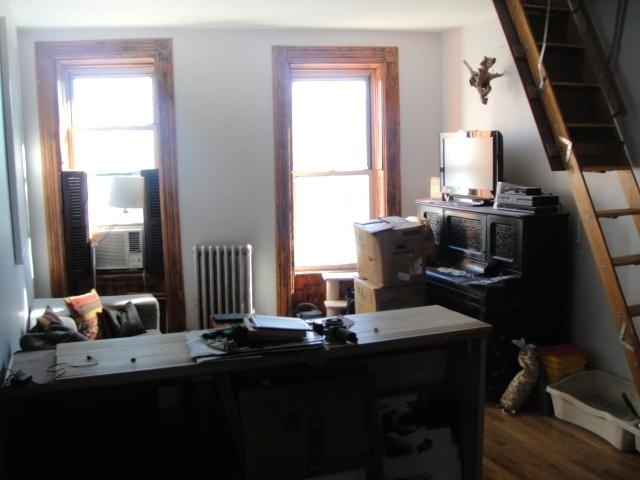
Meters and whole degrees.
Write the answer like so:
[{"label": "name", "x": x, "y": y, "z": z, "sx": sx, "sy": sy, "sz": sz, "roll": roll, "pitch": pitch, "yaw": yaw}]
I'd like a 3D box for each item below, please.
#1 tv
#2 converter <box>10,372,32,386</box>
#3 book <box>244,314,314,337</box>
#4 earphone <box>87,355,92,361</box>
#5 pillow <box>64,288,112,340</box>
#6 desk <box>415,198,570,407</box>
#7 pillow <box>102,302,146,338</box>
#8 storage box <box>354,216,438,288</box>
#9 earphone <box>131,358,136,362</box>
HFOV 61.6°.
[{"label": "tv", "x": 1.467, "y": -0.677, "z": 5.035, "sx": 0.317, "sy": 0.653, "sz": 0.741, "roll": -8, "pitch": 12, "yaw": -29}, {"label": "converter", "x": -1.390, "y": 0.645, "z": 2.495, "sx": 0.056, "sy": 0.036, "sz": 0.059, "roll": 1, "pitch": 13, "yaw": -3}, {"label": "book", "x": -0.214, "y": 0.446, "z": 2.794, "sx": 0.351, "sy": 0.083, "sz": 0.252, "roll": -5, "pitch": 3, "yaw": -10}, {"label": "earphone", "x": -1.138, "y": 0.583, "z": 2.647, "sx": 0.020, "sy": 0.006, "sz": 0.022, "roll": -4, "pitch": 17, "yaw": -28}, {"label": "pillow", "x": -1.954, "y": 0.616, "z": 4.502, "sx": 0.392, "sy": 0.418, "sz": 0.121, "roll": -3, "pitch": -28, "yaw": -29}, {"label": "desk", "x": 1.434, "y": 0.386, "z": 5.010, "sx": 0.828, "sy": 1.434, "sz": 1.530, "roll": -2, "pitch": 7, "yaw": -15}, {"label": "pillow", "x": -1.601, "y": 0.668, "z": 4.471, "sx": 0.133, "sy": 0.341, "sz": 0.339, "roll": -31, "pitch": -16, "yaw": 29}, {"label": "storage box", "x": 0.569, "y": 0.107, "z": 4.908, "sx": 0.597, "sy": 0.579, "sz": 0.734, "roll": -5, "pitch": 10, "yaw": -16}, {"label": "earphone", "x": -0.905, "y": 0.588, "z": 2.609, "sx": 0.016, "sy": 0.017, "sz": 0.012, "roll": 3, "pitch": -21, "yaw": -9}]
